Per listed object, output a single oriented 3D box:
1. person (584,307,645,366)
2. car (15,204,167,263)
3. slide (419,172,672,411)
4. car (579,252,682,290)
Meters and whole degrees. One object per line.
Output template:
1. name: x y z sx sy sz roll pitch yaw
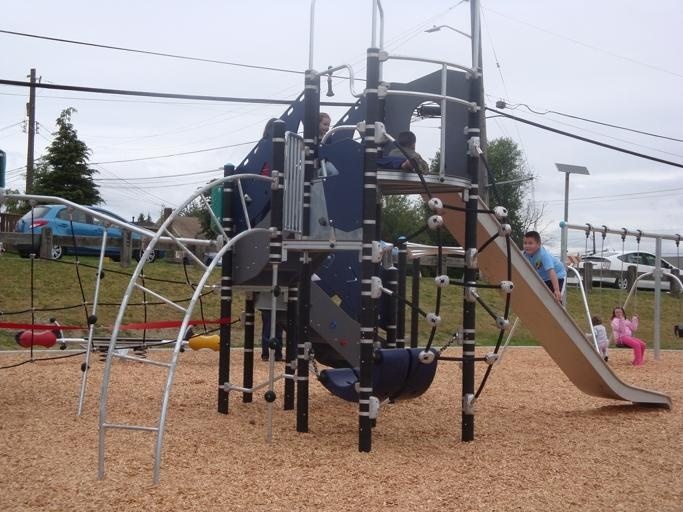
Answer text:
1. person: 4.957 1.443 14.699 0.813 1.279 0.547 -11 31 8
2. car: -5.393 -0.413 16.814 2.537 1.080 1.448 -1 1 -41
3. slide: 2.466 0.554 9.966 2.816 2.517 0.854 2 3 -12
4. car: 6.956 0.347 19.818 2.282 0.742 1.040 -1 2 -29
